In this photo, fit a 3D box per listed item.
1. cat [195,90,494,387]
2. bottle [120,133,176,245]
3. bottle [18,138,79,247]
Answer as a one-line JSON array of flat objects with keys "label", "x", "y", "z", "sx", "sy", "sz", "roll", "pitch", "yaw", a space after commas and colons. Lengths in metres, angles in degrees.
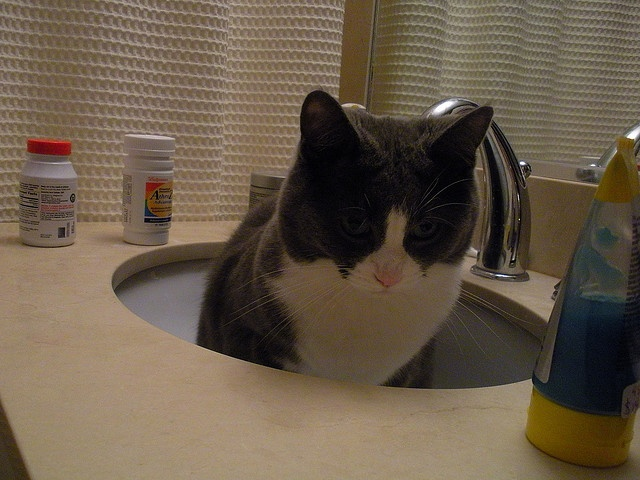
[{"label": "cat", "x": 0.002, "y": 0.045, "z": 0.664, "sx": 0.252, "sy": 0.304, "sz": 0.401, "roll": 6, "pitch": -15, "yaw": -17}, {"label": "bottle", "x": -0.313, "y": -0.088, "z": 0.899, "sx": 0.108, "sy": 0.184, "sz": 0.077, "roll": 13, "pitch": 17, "yaw": 32}, {"label": "bottle", "x": -0.439, "y": -0.076, "z": 0.829, "sx": 0.089, "sy": 0.165, "sz": 0.076, "roll": -4, "pitch": 16, "yaw": -26}]
